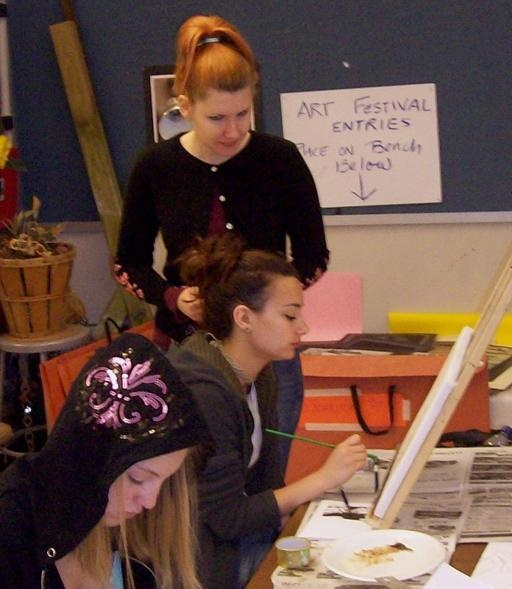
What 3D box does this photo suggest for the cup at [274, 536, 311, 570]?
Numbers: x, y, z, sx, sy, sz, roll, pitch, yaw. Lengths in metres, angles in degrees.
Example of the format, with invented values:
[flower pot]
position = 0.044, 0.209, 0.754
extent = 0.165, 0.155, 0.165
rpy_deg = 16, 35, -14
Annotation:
[cup]
position = 0.055, 0.384, 0.899
extent = 0.045, 0.023, 0.040
rpy_deg = 0, -1, 3

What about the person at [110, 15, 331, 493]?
[person]
position = -0.078, 0.089, 1.667
extent = 0.625, 1.507, 0.528
rpy_deg = -1, 21, 2

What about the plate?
[plate]
position = 0.181, 0.363, 0.857
extent = 0.165, 0.027, 0.139
rpy_deg = 3, 13, 10

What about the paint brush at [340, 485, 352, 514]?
[paint brush]
position = 0.170, 0.390, 1.140
extent = 0.012, 0.010, 0.040
rpy_deg = -37, 12, 5

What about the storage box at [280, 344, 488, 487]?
[storage box]
position = 0.351, 0.282, 1.664
extent = 0.587, 0.311, 0.386
rpy_deg = 0, 2, 8
